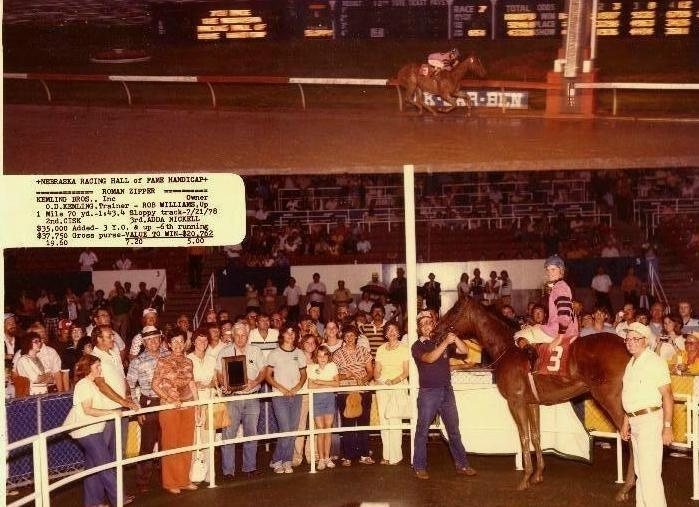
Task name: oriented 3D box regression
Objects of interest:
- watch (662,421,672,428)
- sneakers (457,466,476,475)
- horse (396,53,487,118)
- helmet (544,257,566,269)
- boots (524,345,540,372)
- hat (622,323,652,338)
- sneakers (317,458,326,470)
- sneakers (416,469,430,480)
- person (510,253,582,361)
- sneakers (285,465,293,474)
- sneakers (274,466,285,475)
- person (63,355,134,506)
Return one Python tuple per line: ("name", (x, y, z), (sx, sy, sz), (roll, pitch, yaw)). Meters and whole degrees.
("watch", (5.170, 2.775, 16.741), (0.106, 0.092, 0.054), (-1, 3, 17))
("sneakers", (2.191, 4.026, 19.115), (0.272, 0.133, 0.154), (-4, -3, 40))
("horse", (1.984, -3.819, 23.876), (1.930, 1.317, 1.035), (-2, 3, 3))
("helmet", (3.713, 0.155, 18.558), (0.275, 0.280, 0.242), (14, -2, 19))
("boots", (3.314, 1.911, 18.585), (0.153, 0.503, 0.150), (-3, -8, -10))
("hat", (4.817, 1.271, 17.019), (0.325, 0.228, 0.425), (12, 0, 29))
("sneakers", (-0.522, 3.975, 19.477), (0.163, 0.164, 0.222), (-2, 4, -5))
("sneakers", (1.341, 4.036, 19.004), (0.253, 0.153, 0.306), (-1, 4, 4))
("person", (3.581, 0.907, 18.486), (1.008, 1.641, 0.517), (-1, 3, 13))
("sneakers", (-1.139, 4.056, 19.353), (0.085, 0.122, 0.275), (0, -5, -4))
("sneakers", (-1.313, 4.040, 19.369), (0.209, 0.126, 0.169), (-2, 4, 2))
("person", (-4.410, 3.108, 17.711), (0.829, 2.732, 0.744), (-2, 3, -17))
